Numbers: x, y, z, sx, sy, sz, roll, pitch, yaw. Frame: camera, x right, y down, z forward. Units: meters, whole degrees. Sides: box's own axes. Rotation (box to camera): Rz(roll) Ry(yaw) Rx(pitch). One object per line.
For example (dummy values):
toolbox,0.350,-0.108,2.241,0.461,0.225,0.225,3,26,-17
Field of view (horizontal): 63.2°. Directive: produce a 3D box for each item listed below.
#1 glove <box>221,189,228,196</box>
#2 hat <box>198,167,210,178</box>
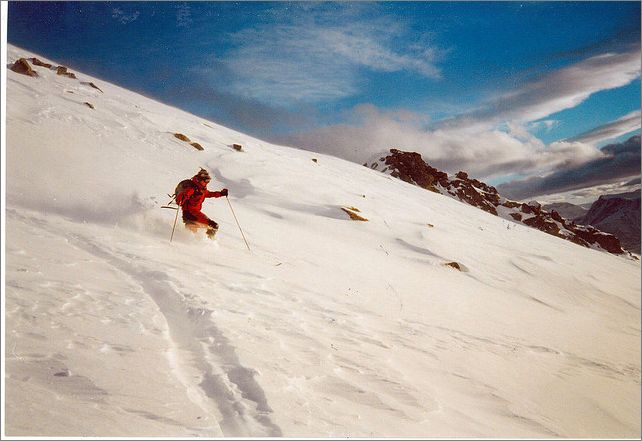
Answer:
glove,-2.697,-0.825,14.843,0.206,0.232,0.250,-6,6,-11
hat,-3.243,-1.370,14.810,0.382,0.380,0.361,1,12,5
